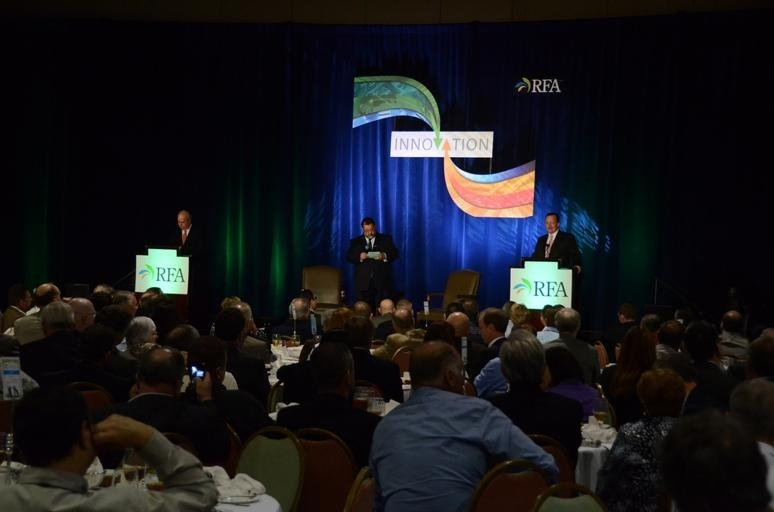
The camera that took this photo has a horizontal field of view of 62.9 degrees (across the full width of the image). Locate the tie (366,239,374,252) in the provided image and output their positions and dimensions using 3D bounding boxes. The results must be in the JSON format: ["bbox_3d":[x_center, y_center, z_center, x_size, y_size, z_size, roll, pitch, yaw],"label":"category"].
[{"bbox_3d":[-0.279,-0.194,10.976,0.124,0.207,0.075,2,-14,8],"label":"tie"}]

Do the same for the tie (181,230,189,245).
[{"bbox_3d":[-3.394,-0.325,10.701,0.130,0.242,0.097,3,-4,-27],"label":"tie"}]

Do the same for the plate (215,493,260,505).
[{"bbox_3d":[-0.785,1.288,3.377,0.196,0.041,0.110,-3,3,-4],"label":"plate"}]
